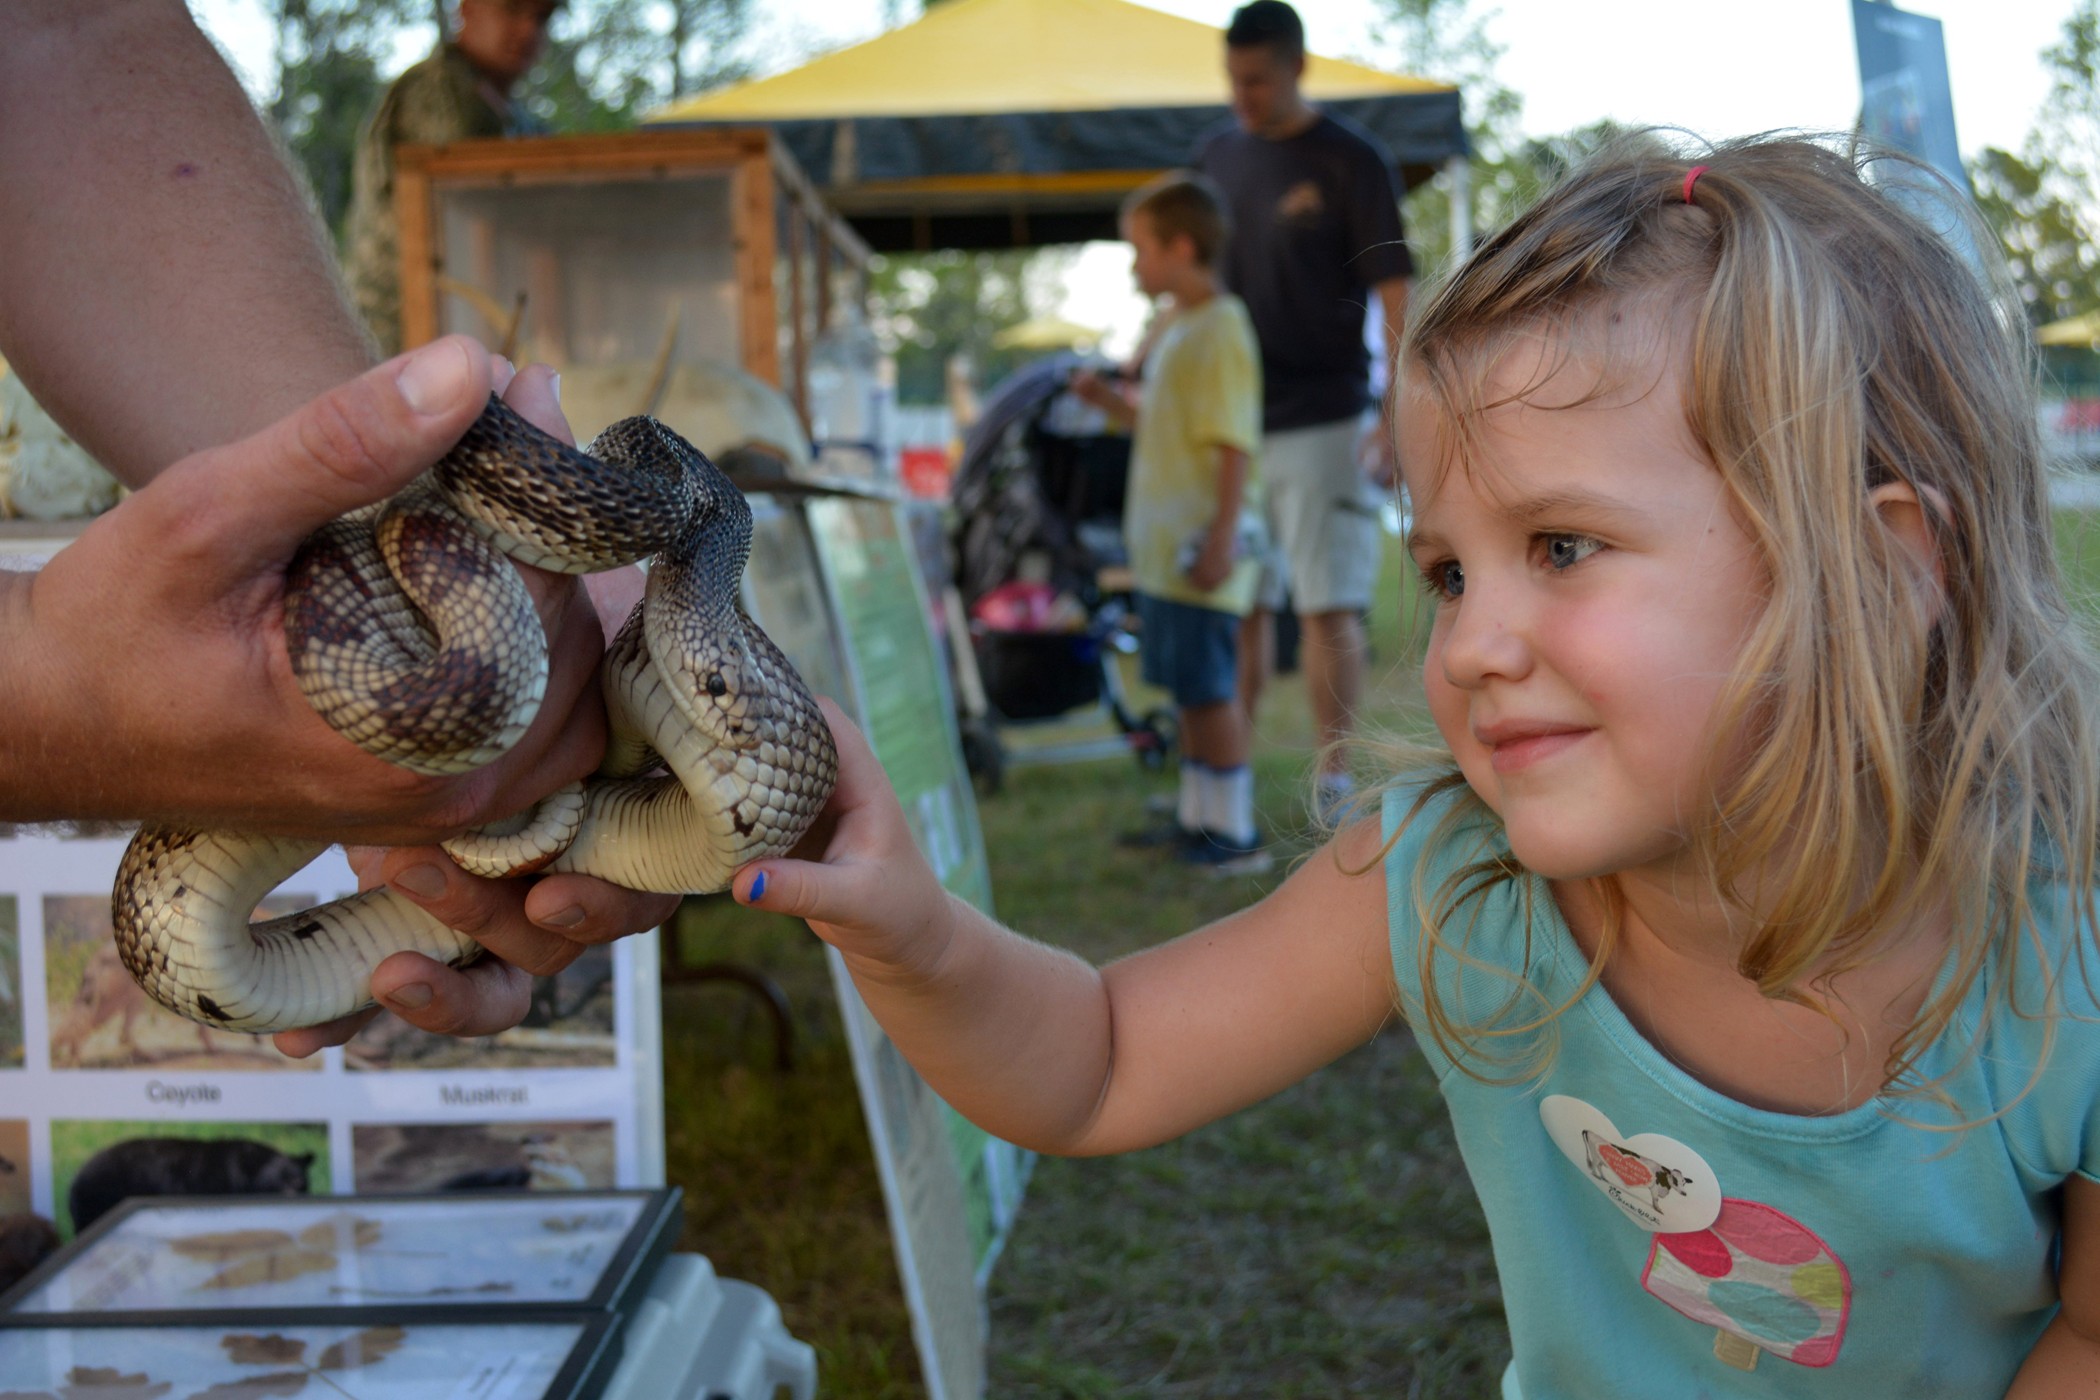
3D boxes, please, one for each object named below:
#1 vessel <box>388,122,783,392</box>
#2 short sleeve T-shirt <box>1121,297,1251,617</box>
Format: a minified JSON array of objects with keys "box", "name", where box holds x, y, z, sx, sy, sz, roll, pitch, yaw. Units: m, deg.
[{"box":[-0.770,-0.720,3.445,0.487,0.367,0.614,1,5,-15],"name":"vessel"},{"box":[0.460,-0.784,6.676,0.441,1.145,0.933,2,6,-2],"name":"short sleeve T-shirt"}]
